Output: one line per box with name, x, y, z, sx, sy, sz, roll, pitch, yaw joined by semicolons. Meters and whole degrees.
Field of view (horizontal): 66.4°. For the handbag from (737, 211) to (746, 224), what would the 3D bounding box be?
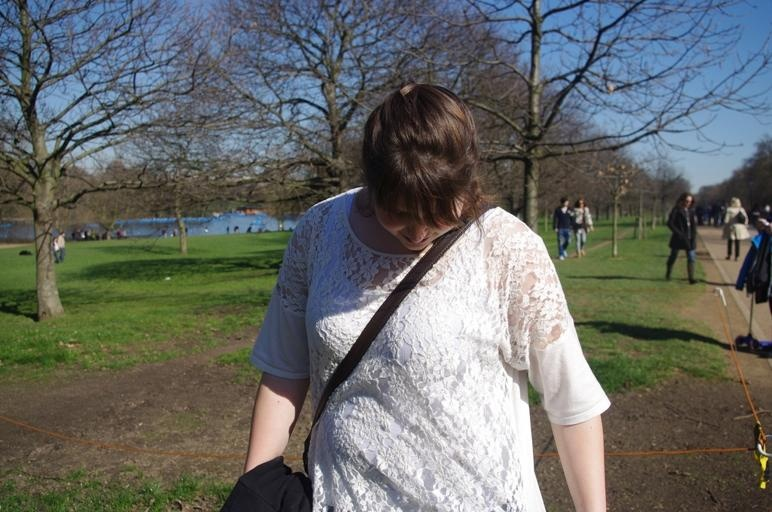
handbag;11.729;-1.250;19.486;0.268;0.390;0.354;-4;16;5
